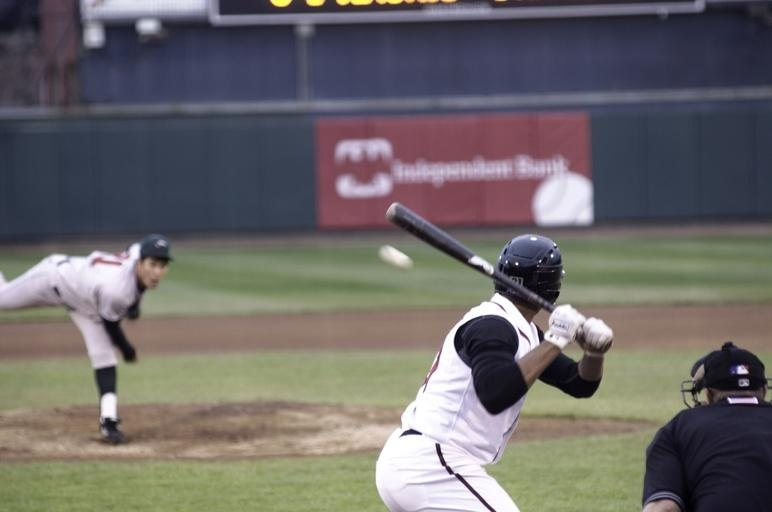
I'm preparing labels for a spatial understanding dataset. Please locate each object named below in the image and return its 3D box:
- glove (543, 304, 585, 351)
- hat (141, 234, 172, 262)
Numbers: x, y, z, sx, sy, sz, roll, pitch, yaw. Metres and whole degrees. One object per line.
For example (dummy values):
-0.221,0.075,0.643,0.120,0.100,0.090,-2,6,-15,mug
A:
1.823,0.669,19.171,0.350,0.450,0.226,25,-19,21,glove
-2.570,-0.130,20.995,0.250,0.170,0.331,11,-4,-32,hat
